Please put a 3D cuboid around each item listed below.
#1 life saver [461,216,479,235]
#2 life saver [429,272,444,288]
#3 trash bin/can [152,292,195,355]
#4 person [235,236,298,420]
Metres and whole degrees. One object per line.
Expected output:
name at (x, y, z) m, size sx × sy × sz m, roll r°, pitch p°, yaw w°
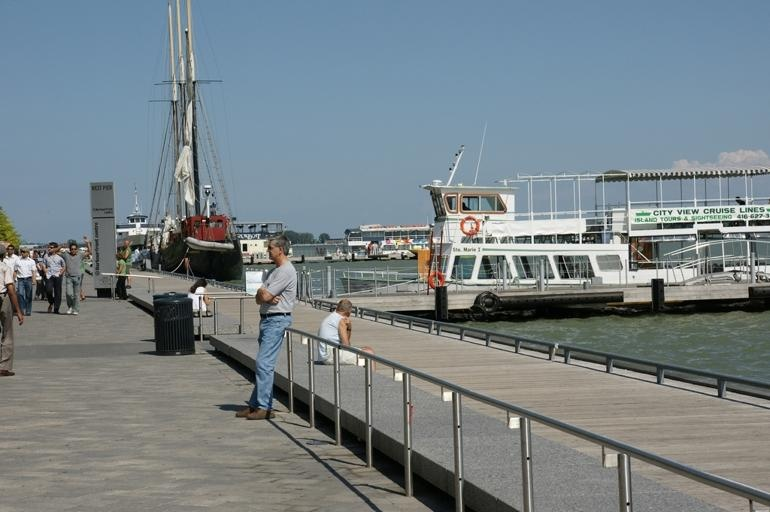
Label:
life saver at (3.270, -1.195, 49.512) m, size 0.703 × 0.655 × 0.274 m, roll -9°, pitch -28°, yaw 1°
life saver at (1.873, 0.813, 46.873) m, size 0.591 × 0.568 × 0.212 m, roll -1°, pitch -10°, yaw 30°
trash bin/can at (-4.816, 1.519, 29.667) m, size 0.912 × 1.402 × 0.967 m, roll -1°, pitch -4°, yaw -39°
person at (-2.193, 1.321, 24.386) m, size 1.361 × 3.397 × 1.184 m, roll -1°, pitch -2°, yaw 38°
